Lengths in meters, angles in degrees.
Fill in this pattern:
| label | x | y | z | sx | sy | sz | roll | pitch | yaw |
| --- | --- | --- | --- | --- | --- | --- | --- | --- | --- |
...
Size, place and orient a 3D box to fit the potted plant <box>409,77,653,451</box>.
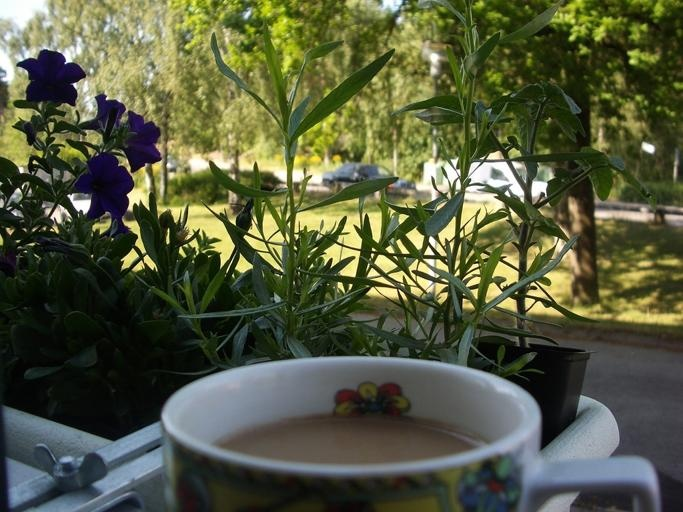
| label | x | y | z | sx | sy | sz | roll | pitch | yaw |
| --- | --- | --- | --- | --- | --- | --- | --- | --- | --- |
| potted plant | 0.136 | 0.002 | 0.505 | 0.158 | 0.240 | 0.150 | 9 | 3 | 41 |
